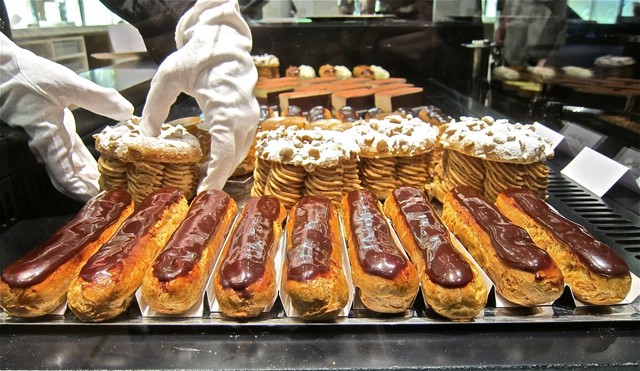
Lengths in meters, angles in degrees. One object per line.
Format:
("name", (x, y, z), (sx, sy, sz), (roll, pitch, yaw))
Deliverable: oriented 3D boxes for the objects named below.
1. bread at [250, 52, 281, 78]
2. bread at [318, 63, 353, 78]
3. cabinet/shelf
("bread", (-0.346, -0.838, 2.898), (0.190, 0.173, 0.181), (3, 21, 15))
("bread", (0.105, -0.816, 2.956), (0.117, 0.066, 0.158), (10, 8, 42))
("cabinet/shelf", (-1.382, -0.695, 2.201), (0.566, 0.217, 0.104), (10, 8, 33))
